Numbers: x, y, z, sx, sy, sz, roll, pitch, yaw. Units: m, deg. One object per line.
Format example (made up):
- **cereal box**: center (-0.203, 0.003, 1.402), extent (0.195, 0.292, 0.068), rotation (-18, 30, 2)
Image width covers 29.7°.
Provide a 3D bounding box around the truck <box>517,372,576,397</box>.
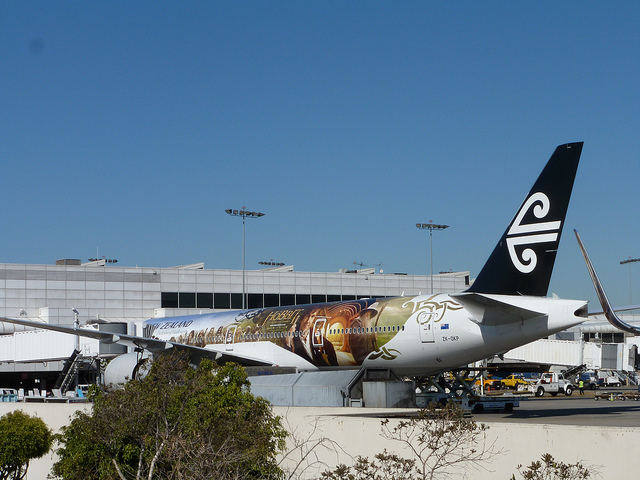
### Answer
- **truck**: center (12.564, 8.022, 65.182), extent (2.483, 1.117, 1.441), rotation (0, -2, -20)
